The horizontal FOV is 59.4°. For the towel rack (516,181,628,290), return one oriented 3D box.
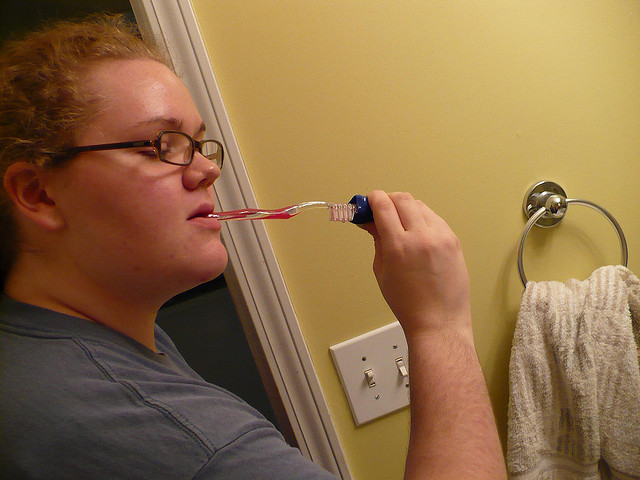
[{"bbox_3d":[0.538,-0.035,1.251,0.211,0.070,0.269,-25,89,-2],"label":"towel rack"}]

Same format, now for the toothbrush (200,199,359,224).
[{"bbox_3d":[-0.089,-0.058,1.110,0.216,0.039,0.025,-4,46,11],"label":"toothbrush"}]
